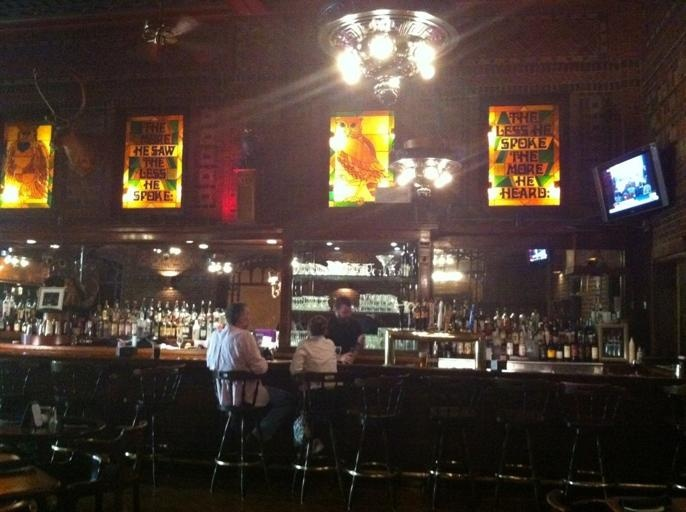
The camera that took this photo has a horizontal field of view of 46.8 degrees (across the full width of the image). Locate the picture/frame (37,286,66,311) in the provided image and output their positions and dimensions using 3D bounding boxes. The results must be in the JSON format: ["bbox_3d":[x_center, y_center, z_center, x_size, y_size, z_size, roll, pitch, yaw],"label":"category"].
[{"bbox_3d":[-4.484,0.663,12.177,0.357,0.371,0.028,0,-15,-1],"label":"picture/frame"}]

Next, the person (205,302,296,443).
[{"bbox_3d":[-1.081,1.367,9.347,0.945,1.580,0.646,12,-16,-40],"label":"person"}]

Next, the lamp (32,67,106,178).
[{"bbox_3d":[-4.054,-1.808,11.890,0.493,1.706,0.951,-6,13,46],"label":"lamp"}]

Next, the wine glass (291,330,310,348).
[{"bbox_3d":[-0.598,1.139,10.979,0.254,0.299,0.260,1,-9,-4],"label":"wine glass"}]

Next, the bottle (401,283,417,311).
[{"bbox_3d":[0.925,0.592,11.202,0.094,0.418,0.255,11,-15,-37],"label":"bottle"}]

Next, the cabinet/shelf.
[{"bbox_3d":[0.115,0.617,10.996,1.421,1.292,0.485,0,-10,3],"label":"cabinet/shelf"}]

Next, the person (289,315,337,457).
[{"bbox_3d":[-0.350,1.492,9.239,0.560,1.583,1.137,2,-12,-1],"label":"person"}]

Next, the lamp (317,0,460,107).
[{"bbox_3d":[0.360,-1.981,7.940,0.889,0.489,0.900,-2,7,-20],"label":"lamp"}]
